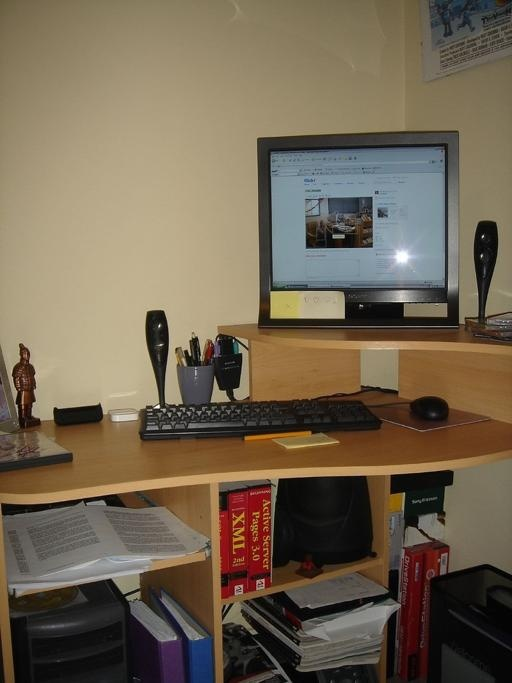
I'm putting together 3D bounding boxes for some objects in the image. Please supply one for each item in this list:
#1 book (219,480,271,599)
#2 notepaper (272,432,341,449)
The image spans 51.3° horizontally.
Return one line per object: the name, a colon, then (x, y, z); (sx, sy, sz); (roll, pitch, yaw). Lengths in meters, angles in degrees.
book: (-0.017, 0.341, 0.907); (0.107, 0.185, 0.021); (1, -1, -30)
notepaper: (0.089, 0.181, 0.955); (0.107, 0.014, 0.079); (0, 0, -20)
